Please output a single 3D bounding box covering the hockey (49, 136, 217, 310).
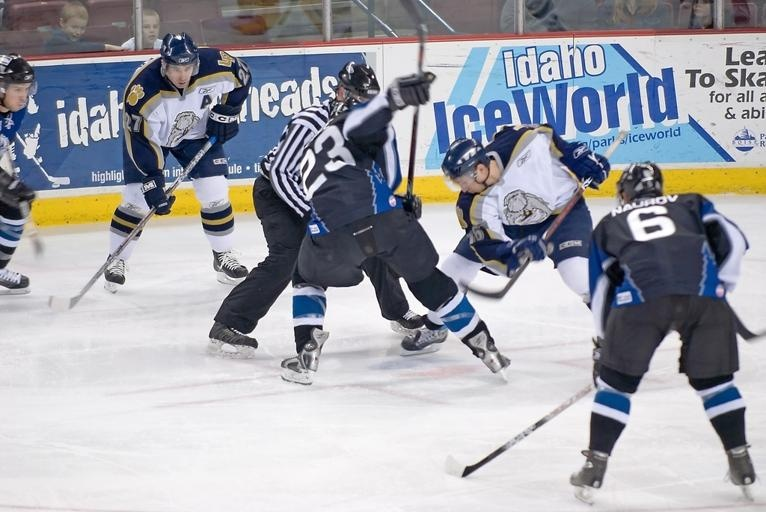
[{"bbox_3d":[-1.775,-0.226,6.525,1.838,0.203,0.167,-43,31,-24],"label":"hockey"}]

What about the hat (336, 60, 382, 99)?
[{"bbox_3d":[-0.090,-0.886,4.763,0.186,0.196,0.217,-15,43,-13],"label":"hat"}]

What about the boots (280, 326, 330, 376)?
[{"bbox_3d":[-0.390,0.518,4.797,0.156,0.276,0.306,15,-12,-26],"label":"boots"}]

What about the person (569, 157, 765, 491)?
[{"bbox_3d":[1.210,0.302,3.896,0.716,1.323,0.653,3,12,19],"label":"person"}]

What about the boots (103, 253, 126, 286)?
[{"bbox_3d":[-1.744,0.088,6.080,0.122,0.096,0.269,-26,22,-4],"label":"boots"}]

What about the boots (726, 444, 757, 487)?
[{"bbox_3d":[1.445,0.847,3.831,0.080,0.087,0.207,-27,19,15],"label":"boots"}]

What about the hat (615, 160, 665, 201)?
[{"bbox_3d":[1.122,-0.320,4.046,0.171,0.182,0.200,-6,11,-34],"label":"hat"}]

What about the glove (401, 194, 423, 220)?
[{"bbox_3d":[0.147,-0.252,4.665,0.108,0.102,0.124,-1,-2,-2],"label":"glove"}]

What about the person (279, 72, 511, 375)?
[{"bbox_3d":[0.033,-0.138,4.517,0.951,1.450,0.379,0,12,5],"label":"person"}]

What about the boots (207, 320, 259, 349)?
[{"bbox_3d":[-0.810,0.425,5.057,0.290,0.111,0.114,6,15,20],"label":"boots"}]

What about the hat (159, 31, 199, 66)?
[{"bbox_3d":[-1.268,-1.285,5.812,0.191,0.176,0.225,-13,44,-9],"label":"hat"}]

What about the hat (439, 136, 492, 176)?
[{"bbox_3d":[0.407,-0.489,4.629,0.229,0.187,0.164,-5,1,1],"label":"hat"}]

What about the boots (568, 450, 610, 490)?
[{"bbox_3d":[0.845,0.878,3.834,0.147,0.159,0.088,2,12,14],"label":"boots"}]
